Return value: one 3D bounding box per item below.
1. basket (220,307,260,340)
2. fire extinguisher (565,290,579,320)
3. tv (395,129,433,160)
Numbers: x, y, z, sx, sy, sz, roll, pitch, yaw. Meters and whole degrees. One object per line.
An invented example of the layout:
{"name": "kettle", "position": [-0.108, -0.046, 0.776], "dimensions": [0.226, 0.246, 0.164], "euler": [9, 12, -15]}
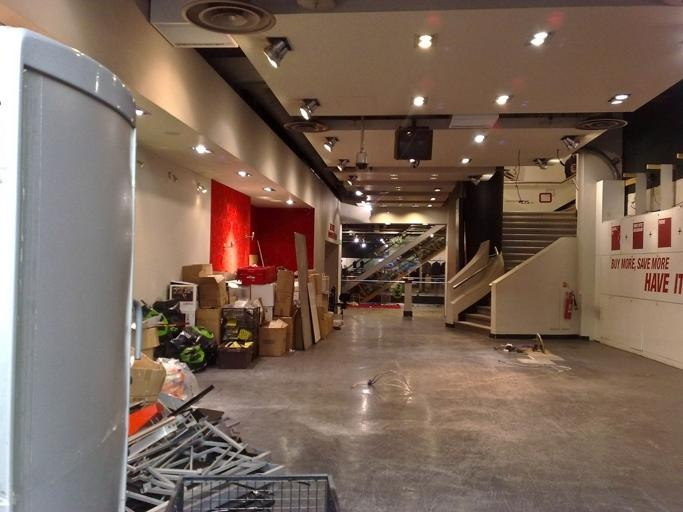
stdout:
{"name": "basket", "position": [-1.626, 1.030, 7.579], "dimensions": [0.650, 0.606, 0.525], "euler": [0, -5, -5]}
{"name": "fire extinguisher", "position": [4.963, 1.038, 10.024], "dimensions": [0.292, 0.420, 0.125], "euler": [1, 0, -11]}
{"name": "tv", "position": [1.258, -1.858, 7.920], "dimensions": [0.612, 0.502, 0.337], "euler": [4, 8, 15]}
